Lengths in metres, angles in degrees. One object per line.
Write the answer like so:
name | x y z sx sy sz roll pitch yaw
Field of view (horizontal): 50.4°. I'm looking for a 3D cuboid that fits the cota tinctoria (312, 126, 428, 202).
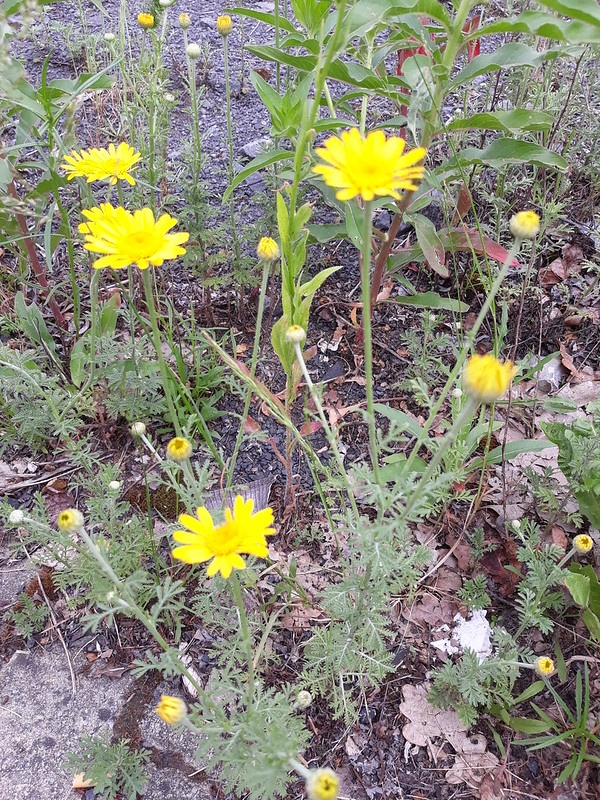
cota tinctoria | 0.111 -0.369 1.025 0.187 0.068 0.190 0 -2 35
